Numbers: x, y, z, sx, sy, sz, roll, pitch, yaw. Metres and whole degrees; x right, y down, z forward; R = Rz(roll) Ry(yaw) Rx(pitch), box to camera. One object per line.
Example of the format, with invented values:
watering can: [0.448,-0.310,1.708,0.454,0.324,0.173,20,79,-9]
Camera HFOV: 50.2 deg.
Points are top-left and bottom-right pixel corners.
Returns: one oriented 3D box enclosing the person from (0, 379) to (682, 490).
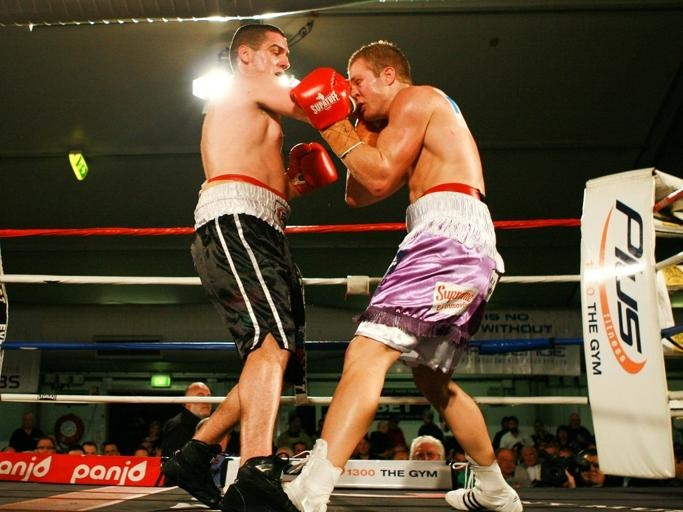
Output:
person: [-0.669,1.109,5.299,4.724,0.627,0.259,0,-1,6]

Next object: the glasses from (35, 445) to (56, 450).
glasses: [-3.117,2.021,7.669,0.087,0.036,0.103,-3,-4,1]
